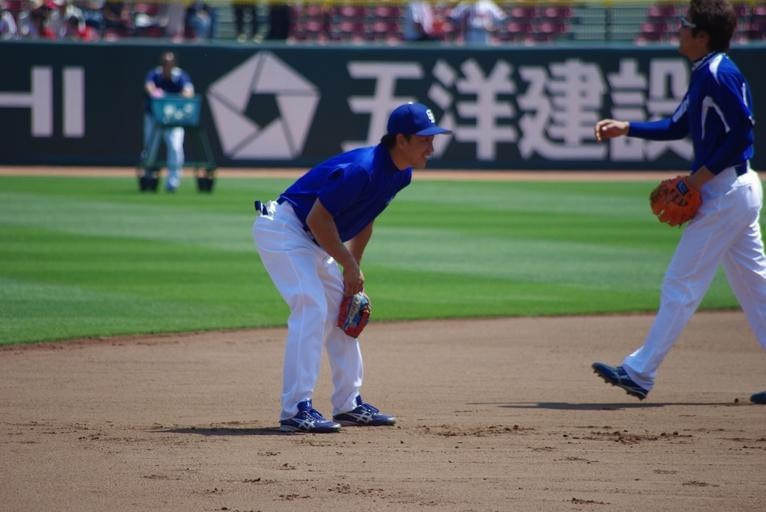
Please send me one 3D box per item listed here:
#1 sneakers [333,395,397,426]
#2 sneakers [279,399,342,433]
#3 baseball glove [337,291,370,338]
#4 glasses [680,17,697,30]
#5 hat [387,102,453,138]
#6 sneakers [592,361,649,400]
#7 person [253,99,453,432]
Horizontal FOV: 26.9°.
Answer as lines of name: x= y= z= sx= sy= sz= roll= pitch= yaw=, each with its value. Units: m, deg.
sneakers: x=-0.147 y=1.250 z=12.768 sx=0.600 sy=0.234 sz=0.191 roll=0 pitch=-6 yaw=4
sneakers: x=-0.584 y=1.256 z=12.538 sx=0.609 sy=0.245 sz=0.212 roll=-1 pitch=0 yaw=39
baseball glove: x=-0.227 y=0.427 z=12.605 sx=0.158 sy=0.254 sz=0.350 roll=5 pitch=19 yaw=7
glasses: x=2.484 y=-1.897 z=12.937 sx=0.108 sy=0.030 sz=0.107 roll=27 pitch=-1 yaw=-44
hat: x=0.290 y=-1.083 z=12.565 sx=0.549 sy=0.231 sz=0.326 roll=3 pitch=7 yaw=23
sneakers: x=1.929 y=0.963 z=12.997 sx=0.514 sy=0.222 sz=0.164 roll=26 pitch=-8 yaw=-13
person: x=-0.370 y=0.072 z=12.542 sx=1.313 sy=2.565 sz=0.476 roll=1 pitch=8 yaw=-4
